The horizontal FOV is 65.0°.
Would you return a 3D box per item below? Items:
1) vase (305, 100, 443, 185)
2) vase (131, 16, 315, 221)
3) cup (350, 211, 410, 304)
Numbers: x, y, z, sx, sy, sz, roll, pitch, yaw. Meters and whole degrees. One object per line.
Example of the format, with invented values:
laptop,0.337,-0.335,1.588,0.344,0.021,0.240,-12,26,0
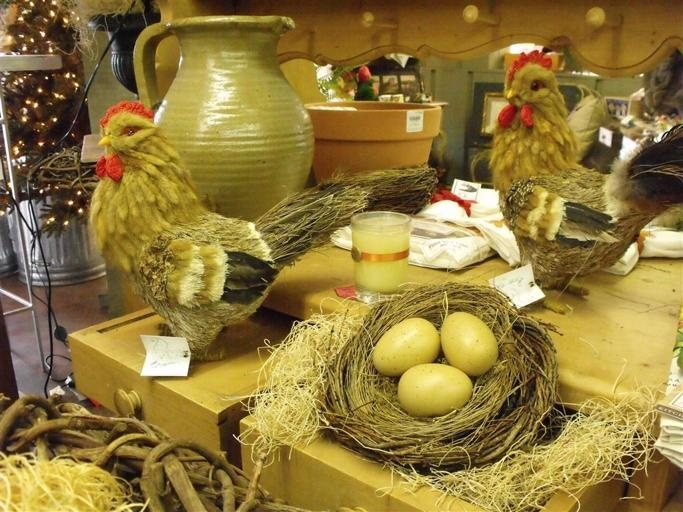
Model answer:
vase,0.090,-0.303,1.393,0.310,0.152,0.279,-4,9,-23
vase,-0.228,-0.307,1.222,0.432,0.418,0.361,4,31,10
cup,0.081,0.002,1.115,0.137,0.157,0.121,-4,22,-6
